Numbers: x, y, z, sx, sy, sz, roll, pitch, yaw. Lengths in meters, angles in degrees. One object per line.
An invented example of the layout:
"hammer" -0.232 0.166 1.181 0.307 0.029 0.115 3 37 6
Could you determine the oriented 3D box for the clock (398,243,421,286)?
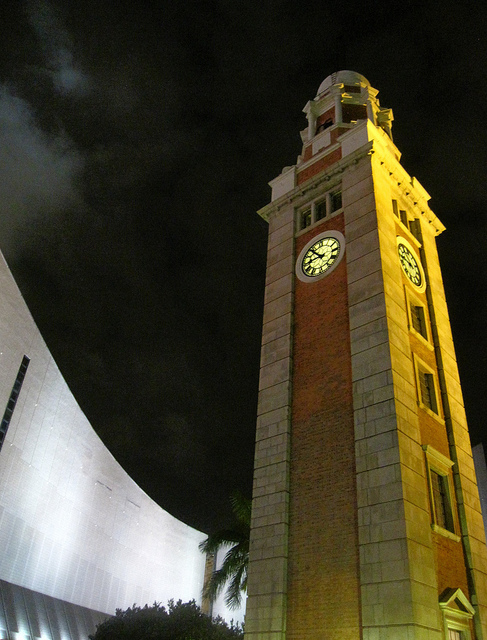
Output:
"clock" 6.308 -2.109 20.374 0.098 1.663 1.716 -29 -41 32
